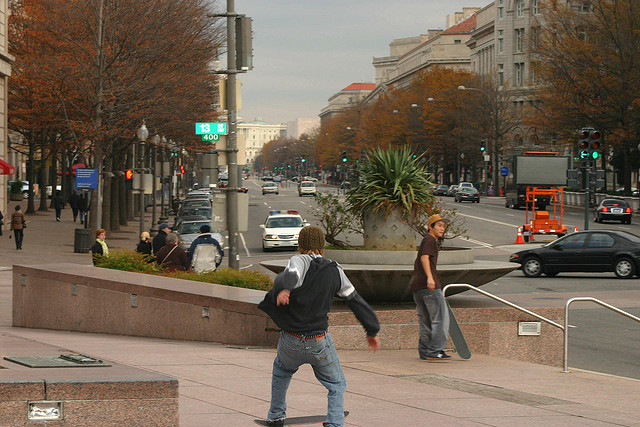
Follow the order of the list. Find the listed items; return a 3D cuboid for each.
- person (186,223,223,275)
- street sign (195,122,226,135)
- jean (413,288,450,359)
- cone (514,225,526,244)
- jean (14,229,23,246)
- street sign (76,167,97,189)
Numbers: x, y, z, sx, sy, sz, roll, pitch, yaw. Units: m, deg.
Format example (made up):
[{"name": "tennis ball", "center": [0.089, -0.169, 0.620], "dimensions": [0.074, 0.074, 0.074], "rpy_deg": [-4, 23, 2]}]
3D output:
[{"name": "person", "center": [-3.715, 1.243, 38.963], "dimensions": [0.954, 1.931, 0.903], "rpy_deg": [0, 0, -6]}, {"name": "street sign", "center": [-3.591, -2.745, 39.252], "dimensions": [1.298, 0.376, 0.596], "rpy_deg": [-1, 0, 35]}, {"name": "jean", "center": [3.024, 2.989, 32.634], "dimensions": [0.928, 1.775, 0.331], "rpy_deg": [-1, 0, 6]}, {"name": "cone", "center": [9.444, 1.141, 57.425], "dimensions": [0.816, 0.677, 0.708], "rpy_deg": [-1, -2, -2]}, {"name": "jean", "center": [-13.173, 1.079, 52.619], "dimensions": [0.318, 0.712, 0.423], "rpy_deg": [-1, 0, -14]}, {"name": "street sign", "center": [-9.952, -1.456, 51.362], "dimensions": [1.018, 0.890, 0.851], "rpy_deg": [-1, 0, -24]}]
